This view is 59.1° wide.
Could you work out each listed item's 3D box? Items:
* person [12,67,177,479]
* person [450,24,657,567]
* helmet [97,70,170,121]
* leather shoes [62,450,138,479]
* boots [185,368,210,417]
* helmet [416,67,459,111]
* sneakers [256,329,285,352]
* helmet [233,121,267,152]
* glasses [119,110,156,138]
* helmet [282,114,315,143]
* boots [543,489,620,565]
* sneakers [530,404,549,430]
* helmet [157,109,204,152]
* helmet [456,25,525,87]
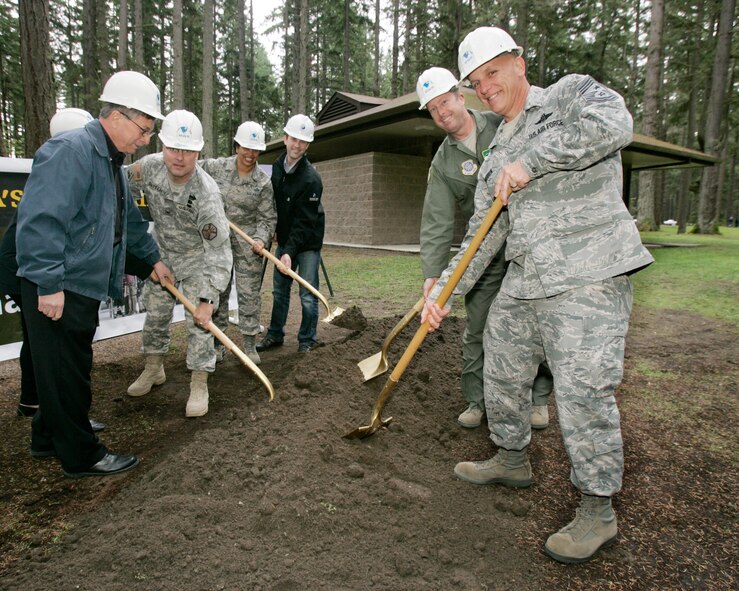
[{"bbox_3d":[-1.884,-0.139,4.396,0.894,2.709,0.434,-11,15,-40],"label":"person"},{"bbox_3d":[1.123,-0.070,4.046,0.640,3.166,1.125,-10,15,-37],"label":"person"},{"bbox_3d":[-1.666,-1.429,4.553,0.459,0.288,0.378,6,19,-12],"label":"helmet"},{"bbox_3d":[-1.859,1.153,4.486,0.440,0.192,0.175,0,3,-17],"label":"leather shoes"},{"bbox_3d":[-1.389,0.785,5.259,0.163,0.338,0.203,0,12,4],"label":"boots"},{"bbox_3d":[0.509,-1.523,4.849,0.262,0.190,0.355,-20,24,24],"label":"helmet"},{"bbox_3d":[-1.051,0.485,6.814,0.119,0.155,0.355,3,-1,31],"label":"sneakers"},{"bbox_3d":[-1.156,-1.540,6.261,0.275,0.292,0.444,-2,12,-5],"label":"helmet"},{"bbox_3d":[-1.638,-1.188,4.512,0.049,0.168,0.159,-18,-3,18],"label":"glasses"},{"bbox_3d":[-0.689,-1.638,6.360,0.268,0.275,0.358,-2,12,-6],"label":"helmet"},{"bbox_3d":[1.292,1.362,3.938,0.523,0.387,0.205,-12,14,-23],"label":"boots"},{"bbox_3d":[1.333,0.950,5.066,0.136,0.170,0.385,-2,-8,14],"label":"sneakers"},{"bbox_3d":[-1.473,-1.320,5.147,0.360,0.272,0.488,5,17,-21],"label":"helmet"},{"bbox_3d":[0.784,-1.529,4.126,0.308,0.212,0.374,-26,-4,43],"label":"helmet"}]
